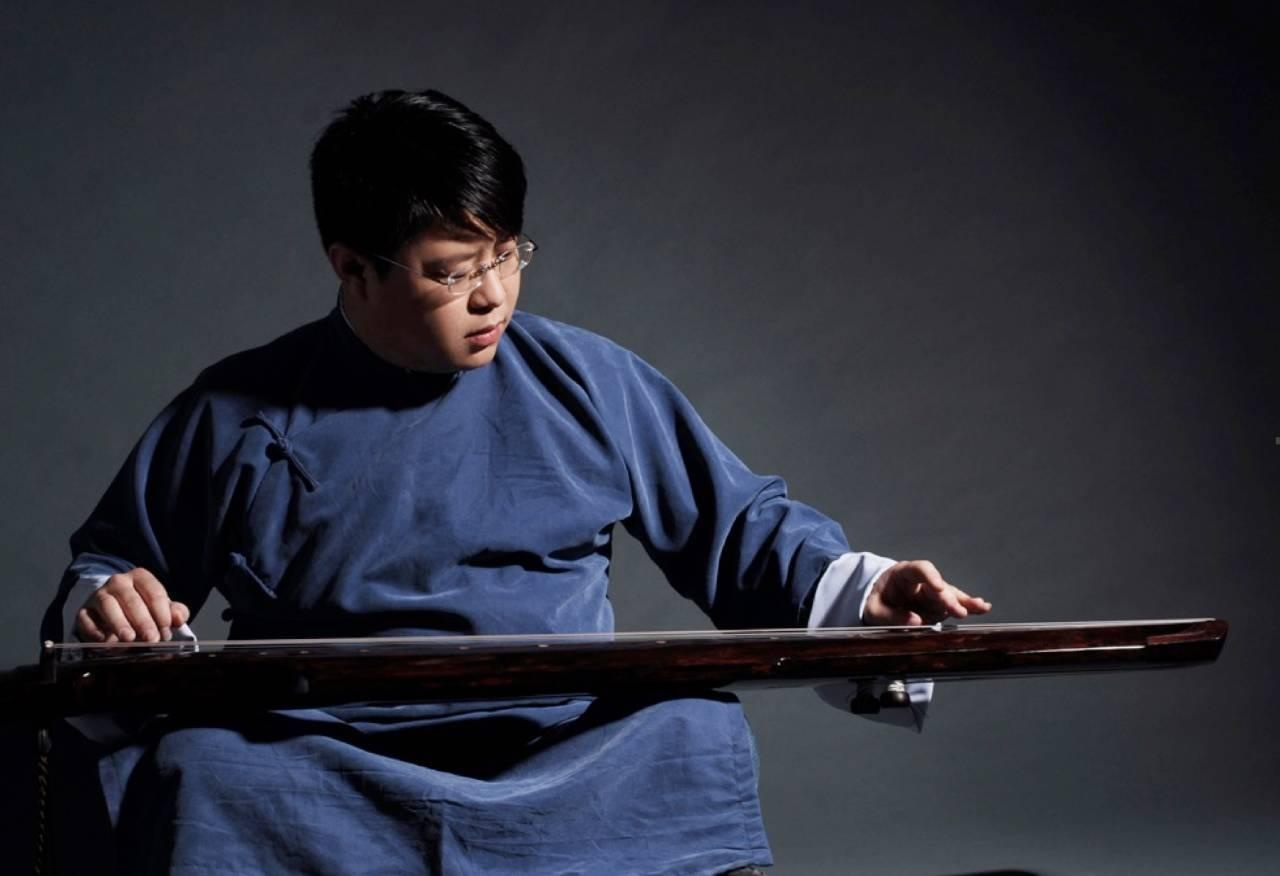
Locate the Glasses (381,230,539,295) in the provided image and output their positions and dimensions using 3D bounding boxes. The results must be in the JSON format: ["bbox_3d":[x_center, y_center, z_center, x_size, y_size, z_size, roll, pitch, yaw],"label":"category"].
[{"bbox_3d":[-0.364,-0.338,2.987,0.310,0.124,0.054,2,-3,-11],"label":"Glasses"}]

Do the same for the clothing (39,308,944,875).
[{"bbox_3d":[-0.467,0.376,3.214,1.845,1.262,1.005,-1,-10,-9],"label":"clothing"}]
